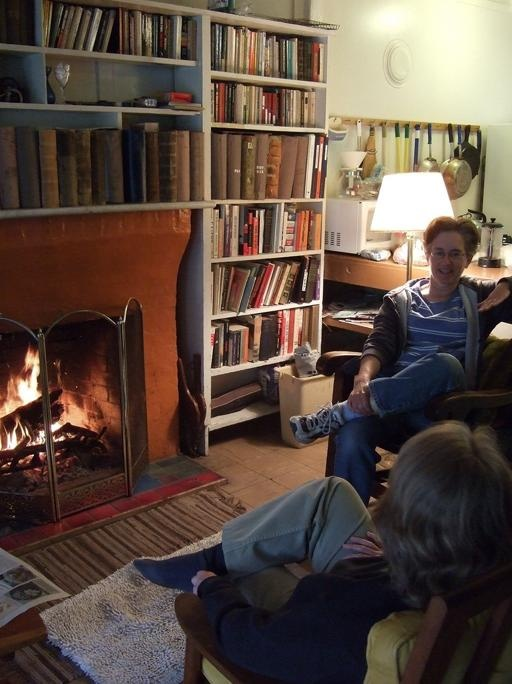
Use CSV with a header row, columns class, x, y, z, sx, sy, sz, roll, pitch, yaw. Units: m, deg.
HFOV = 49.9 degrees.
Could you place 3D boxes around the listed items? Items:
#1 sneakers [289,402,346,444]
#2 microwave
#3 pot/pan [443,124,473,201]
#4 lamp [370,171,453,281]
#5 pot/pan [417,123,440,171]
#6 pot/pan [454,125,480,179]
class,x,y,z,sx,sy,sz,roll,pitch,yaw
sneakers,0.262,0.331,2.312,0.290,0.132,0.111,-21,39,25
microwave,0.655,-0.728,3.458,0.319,0.318,0.450,16,24,42
pot/pan,1.511,-1.350,4.156,0.307,0.529,0.083,-6,9,-40
lamp,0.785,-0.478,2.851,0.345,0.747,0.370,-3,-2,28
pot/pan,1.271,-1.411,4.032,0.132,0.343,0.319,6,14,20
pot/pan,1.671,-1.492,4.331,0.284,0.444,0.066,-5,8,-44
